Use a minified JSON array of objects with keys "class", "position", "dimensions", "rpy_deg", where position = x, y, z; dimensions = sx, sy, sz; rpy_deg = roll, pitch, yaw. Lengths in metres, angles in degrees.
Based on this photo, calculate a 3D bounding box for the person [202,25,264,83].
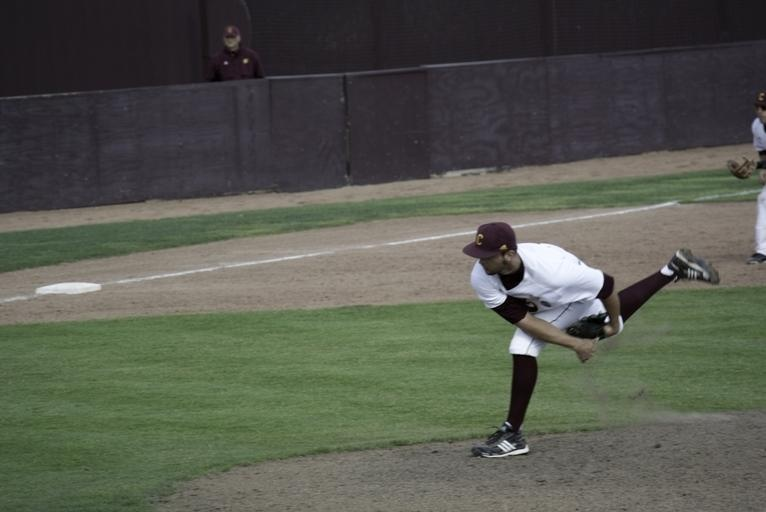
[{"class":"person","position":[-2.927,-4.046,29.785],"dimensions":[0.958,1.074,0.840],"rpy_deg":[-14,18,-39]}]

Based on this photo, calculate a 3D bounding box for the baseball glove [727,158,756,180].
[{"class":"baseball glove","position":[5.738,-1.408,23.733],"dimensions":[0.343,0.297,0.462],"rpy_deg":[-23,-27,32]}]

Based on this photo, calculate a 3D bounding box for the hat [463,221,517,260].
[{"class":"hat","position":[1.381,-0.207,18.719],"dimensions":[0.694,0.285,0.416],"rpy_deg":[-8,20,-15]}]
